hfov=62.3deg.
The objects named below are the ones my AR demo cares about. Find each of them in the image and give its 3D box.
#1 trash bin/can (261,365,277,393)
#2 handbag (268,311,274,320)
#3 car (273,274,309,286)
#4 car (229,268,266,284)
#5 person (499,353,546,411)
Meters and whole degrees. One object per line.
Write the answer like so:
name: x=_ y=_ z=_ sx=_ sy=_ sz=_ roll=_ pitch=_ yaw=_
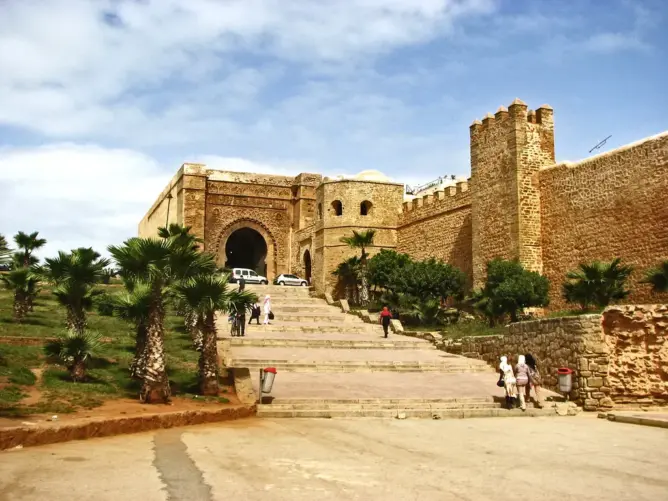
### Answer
trash bin/can: x=-1.488 y=2.904 z=12.381 sx=0.280 sy=0.620 sz=1.129 roll=3 pitch=-10 yaw=-7
handbag: x=-2.722 y=2.830 z=24.229 sx=0.251 sy=0.323 sz=0.111 roll=-2 pitch=-1 yaw=20
car: x=-3.167 y=2.188 z=40.576 sx=1.785 sy=0.662 sz=0.994 roll=-1 pitch=-3 yaw=-15
car: x=-5.816 y=1.455 z=37.801 sx=3.101 sy=1.339 sz=1.718 roll=-1 pitch=-4 yaw=-14
person: x=4.576 y=3.099 z=13.171 sx=0.854 sy=1.221 sz=1.979 roll=-4 pitch=-11 yaw=27
